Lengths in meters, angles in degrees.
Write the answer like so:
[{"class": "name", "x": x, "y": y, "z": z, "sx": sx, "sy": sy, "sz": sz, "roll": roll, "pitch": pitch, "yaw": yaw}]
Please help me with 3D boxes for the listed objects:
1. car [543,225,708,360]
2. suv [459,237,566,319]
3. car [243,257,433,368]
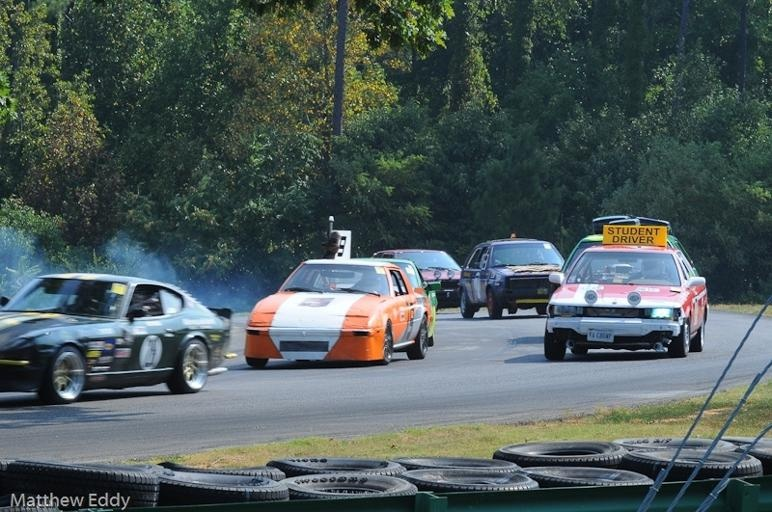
[{"class": "car", "x": 5.839, "y": 0.872, "z": 34.024, "sx": 3.996, "sy": 3.409, "sz": 2.607, "roll": -1, "pitch": -3, "yaw": -3}, {"class": "suv", "x": 3.839, "y": 0.704, "z": 44.394, "sx": 2.005, "sy": 1.703, "sz": 3.361, "roll": 0, "pitch": -5, "yaw": -18}, {"class": "car", "x": -1.243, "y": 1.412, "z": 33.615, "sx": 4.346, "sy": 2.620, "sz": 2.142, "roll": 0, "pitch": -3, "yaw": -8}]
